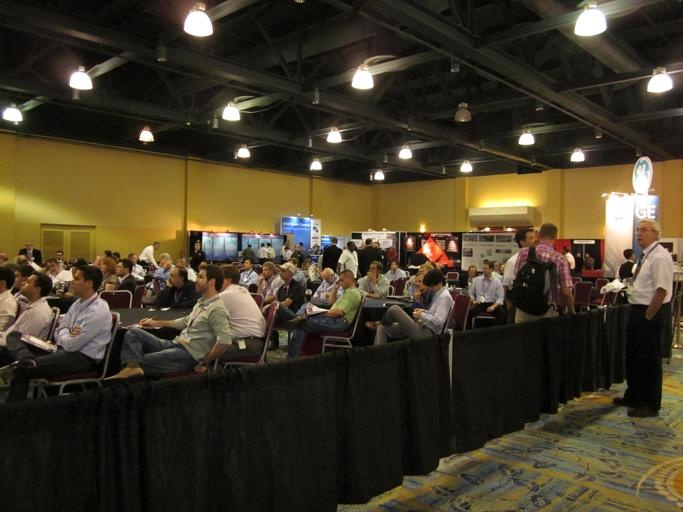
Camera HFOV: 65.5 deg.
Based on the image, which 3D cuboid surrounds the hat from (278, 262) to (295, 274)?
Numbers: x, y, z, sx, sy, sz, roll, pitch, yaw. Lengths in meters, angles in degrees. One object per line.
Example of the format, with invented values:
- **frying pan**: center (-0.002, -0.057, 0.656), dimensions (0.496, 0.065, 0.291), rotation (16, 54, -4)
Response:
- **hat**: center (-0.677, 0.136, 6.781), dimensions (0.156, 0.132, 0.171), rotation (0, -45, -13)

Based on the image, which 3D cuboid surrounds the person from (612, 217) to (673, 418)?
- **person**: center (2.911, 0.598, 5.036), dimensions (0.339, 1.881, 0.338), rotation (6, 9, 29)

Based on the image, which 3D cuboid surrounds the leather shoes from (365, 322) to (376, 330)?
- **leather shoes**: center (0.304, 0.707, 5.469), dimensions (0.076, 0.098, 0.227), rotation (1, -1, -2)
